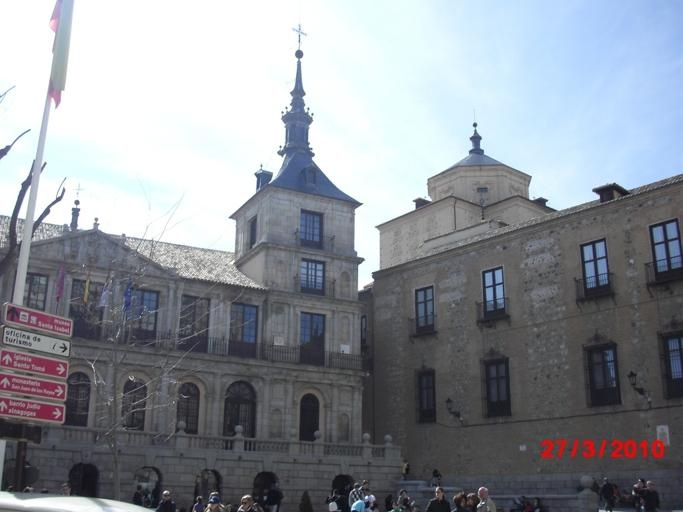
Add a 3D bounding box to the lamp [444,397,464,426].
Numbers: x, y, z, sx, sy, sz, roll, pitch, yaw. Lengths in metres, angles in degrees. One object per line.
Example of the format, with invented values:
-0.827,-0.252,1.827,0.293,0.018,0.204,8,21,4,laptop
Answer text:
6.030,8.357,42.255,1.011,1.610,1.194,7,-22,-15,lamp
